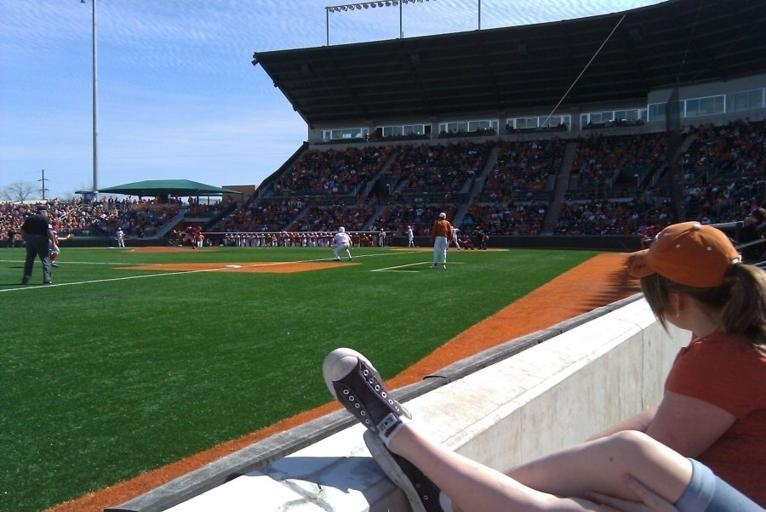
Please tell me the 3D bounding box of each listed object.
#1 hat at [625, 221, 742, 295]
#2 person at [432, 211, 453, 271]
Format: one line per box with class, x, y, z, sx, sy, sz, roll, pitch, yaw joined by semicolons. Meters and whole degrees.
hat;1.817;-0.043;3.836;0.432;0.351;0.578;-21;23;-32
person;1.625;-0.462;17.671;0.544;1.485;0.450;0;9;-12
